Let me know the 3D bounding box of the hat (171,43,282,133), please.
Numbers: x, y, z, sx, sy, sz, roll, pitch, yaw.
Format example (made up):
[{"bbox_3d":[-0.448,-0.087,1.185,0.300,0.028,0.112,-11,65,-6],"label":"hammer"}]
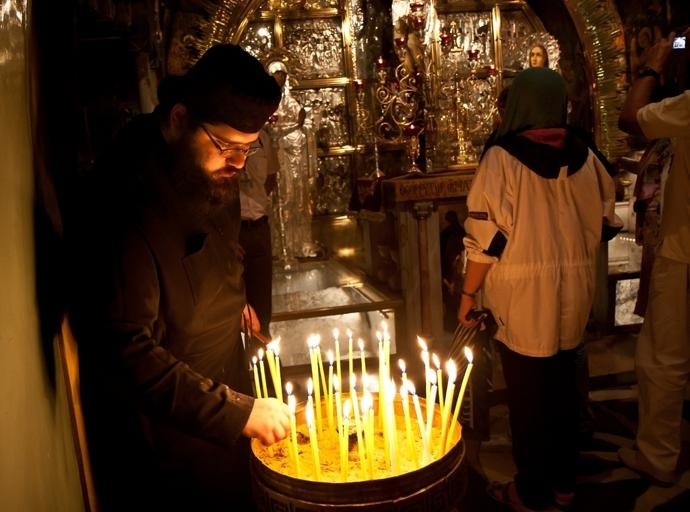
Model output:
[{"bbox_3d":[-0.370,-0.486,1.825,0.279,0.233,0.205,20,14,39],"label":"hat"}]
